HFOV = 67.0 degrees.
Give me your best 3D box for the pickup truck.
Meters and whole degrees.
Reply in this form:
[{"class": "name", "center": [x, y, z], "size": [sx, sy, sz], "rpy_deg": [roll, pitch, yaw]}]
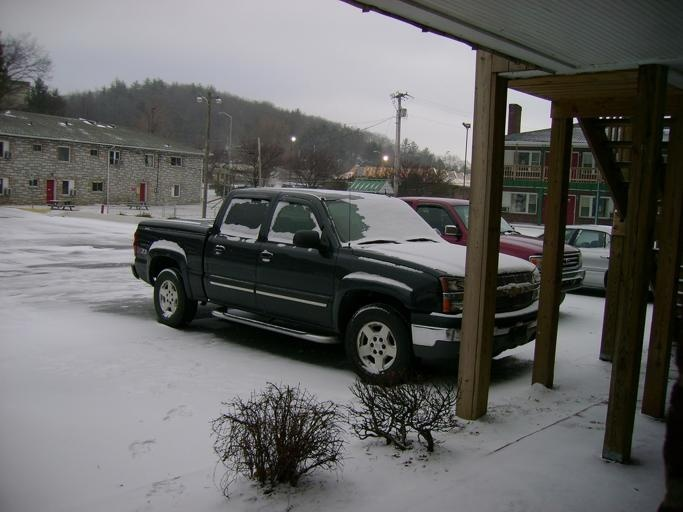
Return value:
[{"class": "pickup truck", "center": [-0.674, 0.142, 7.754], "size": [6.301, 2.315, 2.795], "rpy_deg": [7, 8, 42]}]
